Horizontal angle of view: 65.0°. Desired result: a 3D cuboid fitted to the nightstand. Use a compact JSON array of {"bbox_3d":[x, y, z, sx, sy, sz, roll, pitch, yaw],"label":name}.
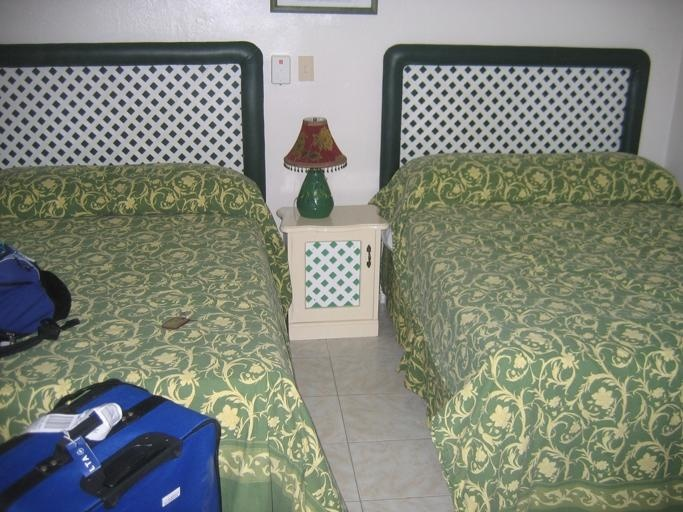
[{"bbox_3d":[-0.074,0.100,3.230,0.584,0.649,0.492,-2,9,-14],"label":"nightstand"}]
